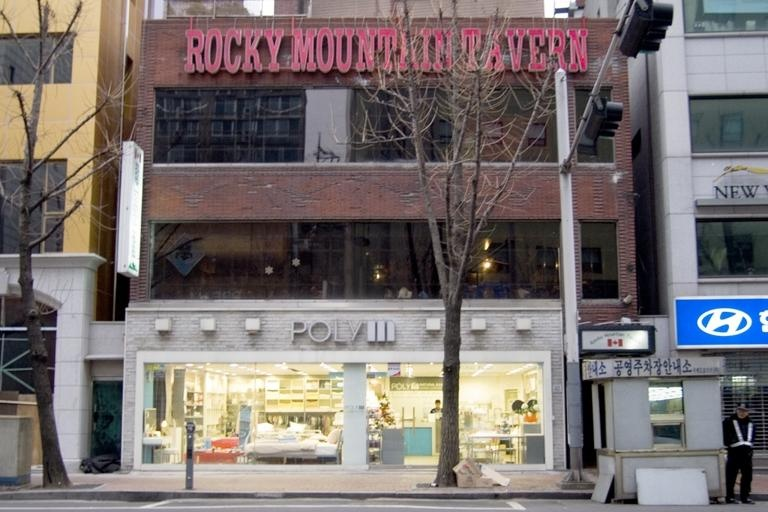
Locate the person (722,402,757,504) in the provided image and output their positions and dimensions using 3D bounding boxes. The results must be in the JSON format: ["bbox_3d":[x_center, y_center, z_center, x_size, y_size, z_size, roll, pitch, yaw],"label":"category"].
[{"bbox_3d":[10.306,5.789,32.729,1.142,2.719,0.687,3,-10,-34],"label":"person"}]

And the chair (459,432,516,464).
[{"bbox_3d":[3.590,6.496,38.389,1.668,0.855,0.933,1,1,4],"label":"chair"}]

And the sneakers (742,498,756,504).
[{"bbox_3d":[10.522,7.032,32.339,0.143,0.187,0.432,-3,-3,40],"label":"sneakers"}]

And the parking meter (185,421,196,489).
[{"bbox_3d":[-5.867,6.027,33.776,0.245,1.892,0.269,-1,-8,-11],"label":"parking meter"}]
